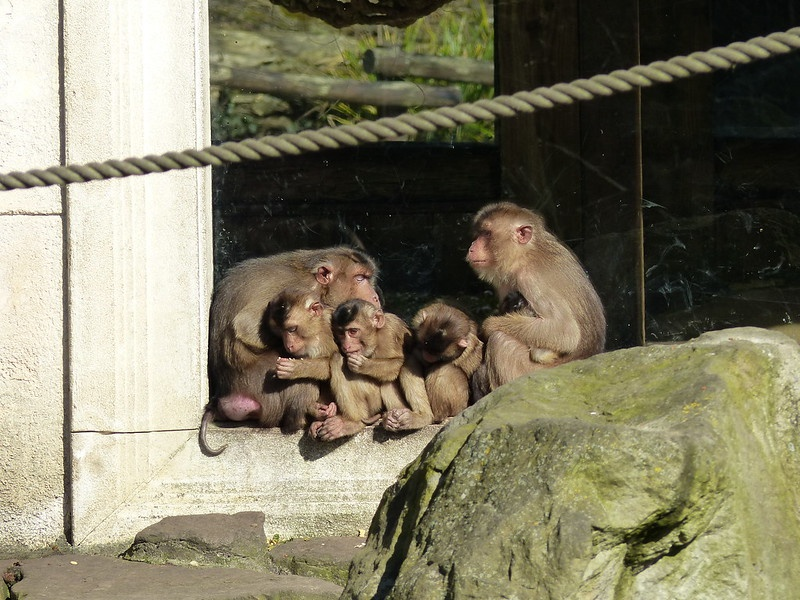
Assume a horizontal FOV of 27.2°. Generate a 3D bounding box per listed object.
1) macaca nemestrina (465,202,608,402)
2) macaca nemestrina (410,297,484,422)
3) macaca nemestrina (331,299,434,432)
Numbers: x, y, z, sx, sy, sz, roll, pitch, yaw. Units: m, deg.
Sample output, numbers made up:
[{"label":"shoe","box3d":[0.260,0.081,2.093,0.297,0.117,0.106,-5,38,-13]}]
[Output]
[{"label":"macaca nemestrina","box3d":[0.632,-0.060,10.563,1.197,1.403,1.172,1,-3,14]},{"label":"macaca nemestrina","box3d":[0.319,0.353,10.726,0.463,0.635,0.697,3,29,10]},{"label":"macaca nemestrina","box3d":[-0.126,0.381,10.651,0.689,0.839,0.654,-2,10,20]}]
